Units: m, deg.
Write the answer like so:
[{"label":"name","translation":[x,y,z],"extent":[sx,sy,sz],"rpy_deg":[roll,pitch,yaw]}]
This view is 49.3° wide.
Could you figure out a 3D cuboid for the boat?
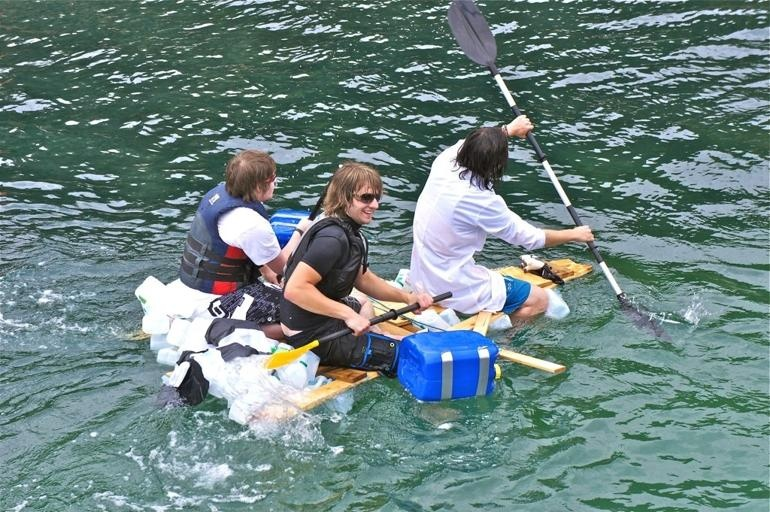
[{"label":"boat","translation":[0.511,1.252,11.627],"extent":[3.679,0.097,2.738],"rpy_deg":[-13,20,-35]}]

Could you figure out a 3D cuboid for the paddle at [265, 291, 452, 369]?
[{"label":"paddle","translation":[-0.543,1.042,11.102],"extent":[2.323,0.484,0.401],"rpy_deg":[-12,24,-18]}]

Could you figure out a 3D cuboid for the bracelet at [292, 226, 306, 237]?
[{"label":"bracelet","translation":[-1.250,-0.345,12.243],"extent":[0.193,0.077,0.164],"rpy_deg":[5,-3,-21]}]
